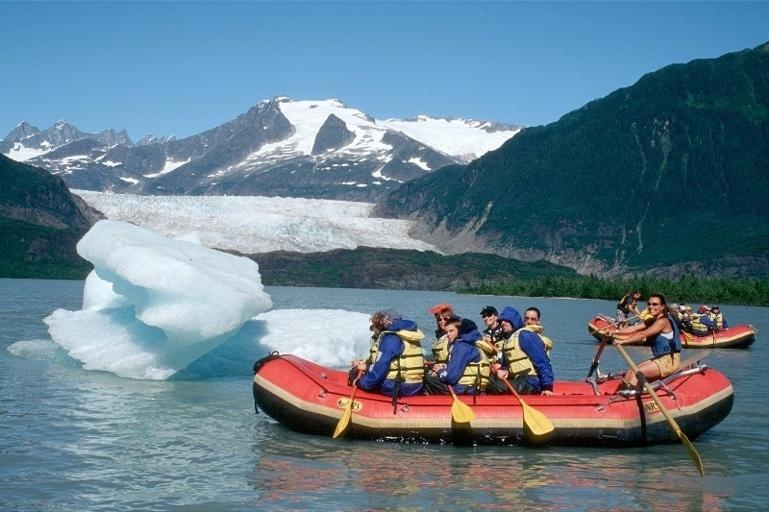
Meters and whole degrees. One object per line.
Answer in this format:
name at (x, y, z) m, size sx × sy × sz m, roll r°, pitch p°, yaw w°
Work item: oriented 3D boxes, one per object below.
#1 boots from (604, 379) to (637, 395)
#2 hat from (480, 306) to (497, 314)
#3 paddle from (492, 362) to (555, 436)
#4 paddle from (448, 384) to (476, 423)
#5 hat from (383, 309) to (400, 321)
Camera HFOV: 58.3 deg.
boots at (6.157, 3.456, 18.014) m, size 0.779 × 0.285 × 0.700 m, roll 1°, pitch -5°, yaw -33°
hat at (2.730, 1.408, 17.934) m, size 0.361 × 0.166 × 0.243 m, roll 15°, pitch -11°, yaw -22°
paddle at (3.547, 3.832, 17.464) m, size 0.704 × 2.741 × 0.137 m, roll -26°, pitch -39°, yaw -16°
paddle at (1.806, 3.665, 17.651) m, size 0.551 × 0.191 × 1.430 m, roll -28°, pitch 29°, yaw 3°
hat at (0.150, 1.560, 18.200) m, size 0.724 × 0.258 × 0.848 m, roll 1°, pitch 3°, yaw 1°
